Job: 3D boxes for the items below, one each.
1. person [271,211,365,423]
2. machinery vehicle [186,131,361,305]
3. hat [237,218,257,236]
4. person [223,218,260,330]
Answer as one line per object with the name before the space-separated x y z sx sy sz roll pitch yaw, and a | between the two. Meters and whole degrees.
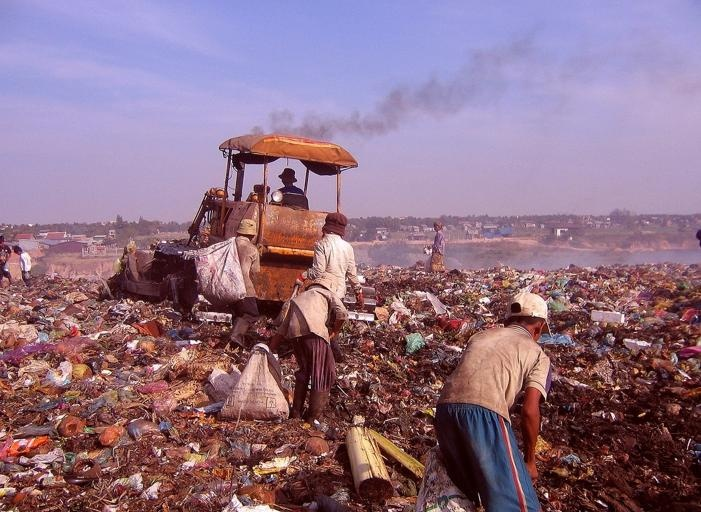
person | -0.421 0.704 5.888 0.746 2.329 0.945 6 14 6
machinery vehicle | -1.960 -0.875 10.262 2.642 2.987 4.505 1 8 -34
hat | -1.474 -0.437 7.327 0.221 0.148 0.244 7 9 8
person | -1.527 0.273 7.304 0.377 1.572 0.486 0 14 -15
